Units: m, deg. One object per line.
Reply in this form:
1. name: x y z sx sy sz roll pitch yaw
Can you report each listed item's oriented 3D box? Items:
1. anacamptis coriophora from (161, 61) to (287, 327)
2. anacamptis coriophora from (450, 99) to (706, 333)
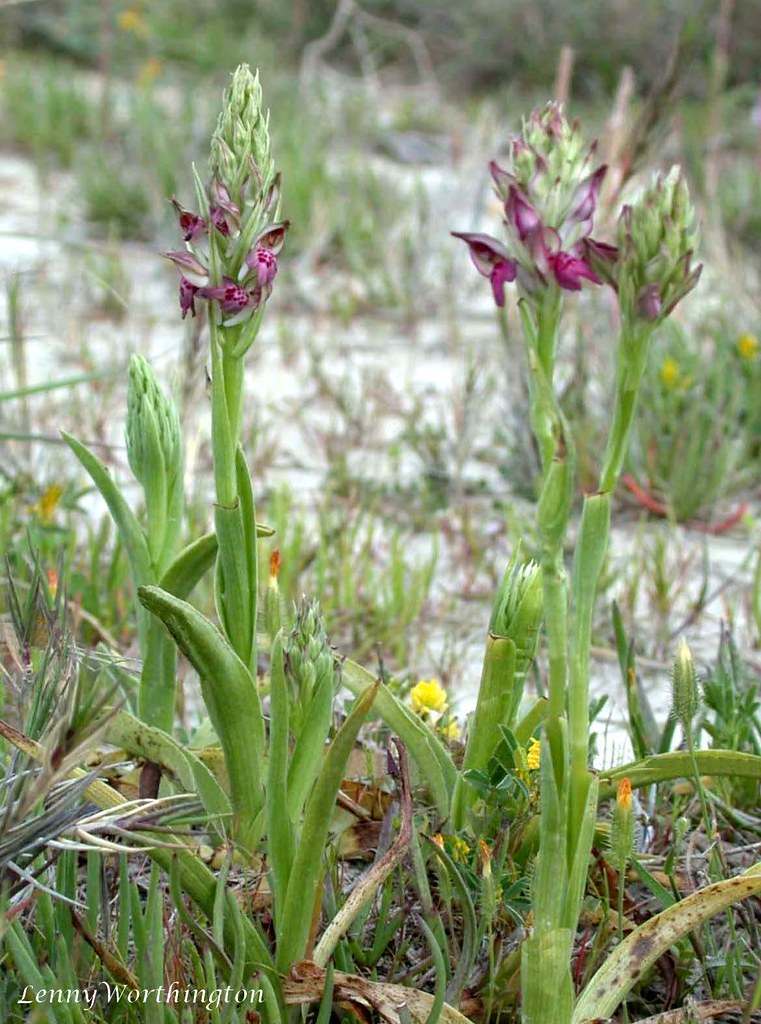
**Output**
1. anacamptis coriophora: -0.131 -0.259 1.066 0.101 0.246 0.192 -1 26 -5
2. anacamptis coriophora: 0.152 -0.218 0.931 0.182 0.176 0.186 10 28 14
